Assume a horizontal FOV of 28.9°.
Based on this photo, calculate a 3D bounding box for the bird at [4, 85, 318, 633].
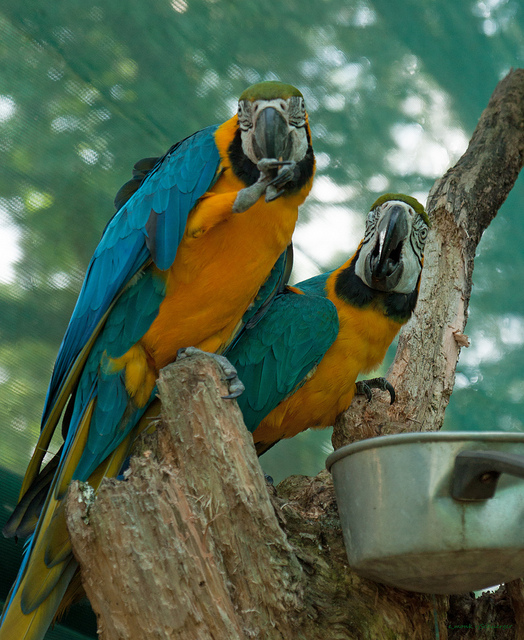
[{"bbox_3d":[-0.306,0.057,2.982,0.561,1.679,0.576,21,2,-3],"label":"bird"}]
